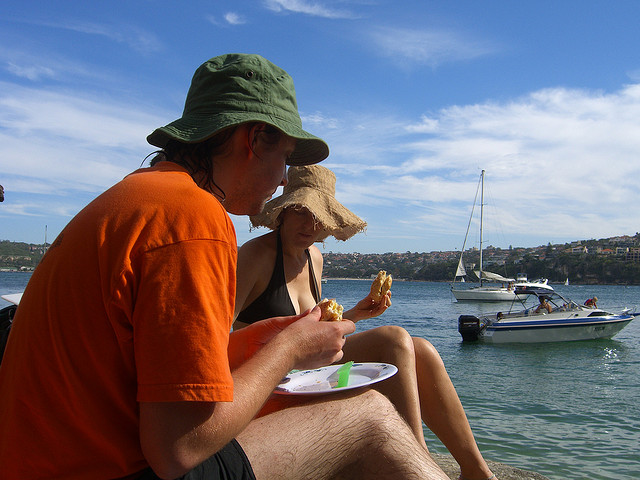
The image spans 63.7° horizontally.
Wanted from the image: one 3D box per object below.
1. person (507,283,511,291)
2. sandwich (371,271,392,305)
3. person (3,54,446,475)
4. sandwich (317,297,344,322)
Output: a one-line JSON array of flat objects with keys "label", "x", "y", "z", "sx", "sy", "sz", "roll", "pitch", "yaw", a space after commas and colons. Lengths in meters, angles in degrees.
[{"label": "person", "x": 19.855, "y": 5.087, "z": 53.633, "sx": 0.228, "sy": 0.592, "sz": 0.730, "roll": 3, "pitch": -4, "yaw": -12}, {"label": "sandwich", "x": 0.591, "y": 0.411, "z": 4.462, "sx": 0.085, "sy": 0.192, "sz": 0.288, "roll": 28, "pitch": 44, "yaw": 15}, {"label": "person", "x": -0.439, "y": 0.090, "z": 2.189, "sx": 0.776, "sy": 1.856, "sz": 1.345, "roll": -1, "pitch": -5, "yaw": 43}, {"label": "sandwich", "x": 0.089, "y": 0.487, "z": 3.552, "sx": 0.179, "sy": 0.067, "sz": 0.132, "roll": -5, "pitch": 11, "yaw": -39}]
